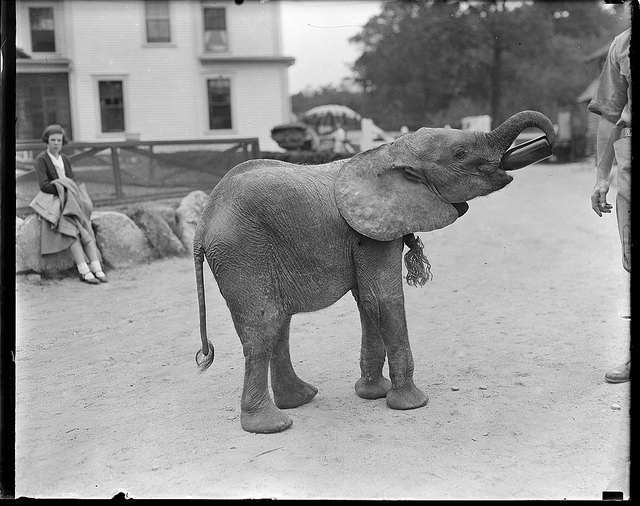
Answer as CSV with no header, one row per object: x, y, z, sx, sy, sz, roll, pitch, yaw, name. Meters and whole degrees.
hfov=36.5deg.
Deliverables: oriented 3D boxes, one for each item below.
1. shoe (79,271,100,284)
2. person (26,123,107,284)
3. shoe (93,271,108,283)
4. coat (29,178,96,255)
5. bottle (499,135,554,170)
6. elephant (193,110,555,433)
-2.337,0.249,9.847,0.237,0.103,0.081,4,12,30,shoe
-2.522,-0.484,9.528,0.734,1.658,0.735,18,29,21,person
-2.263,0.240,10.020,0.148,0.060,0.055,39,38,14,shoe
-2.533,-0.394,9.818,0.397,0.779,0.689,-11,-8,14,coat
1.480,-0.717,6.838,0.323,0.261,0.330,3,14,-1,bottle
0.375,0.145,7.181,2.715,2.004,1.061,-7,11,-8,elephant
